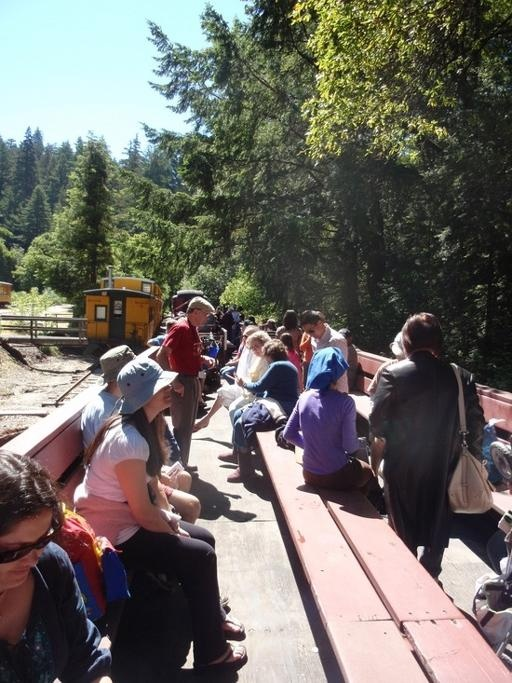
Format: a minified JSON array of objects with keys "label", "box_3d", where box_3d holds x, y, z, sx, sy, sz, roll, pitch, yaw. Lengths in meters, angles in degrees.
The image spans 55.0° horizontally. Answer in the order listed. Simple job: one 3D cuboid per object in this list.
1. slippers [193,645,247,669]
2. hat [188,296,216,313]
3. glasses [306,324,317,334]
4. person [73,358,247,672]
[{"label":"slippers","box_3d":[-0.165,1.577,2.436,0.223,0.086,0.129,0,0,-18]},{"label":"hat","box_3d":[-0.582,-0.393,5.306,0.168,0.135,0.233,5,6,2]},{"label":"glasses","box_3d":[0.705,-0.166,6.286,0.117,0.130,0.047,-7,-37,27]},{"label":"person","box_3d":[-0.474,0.883,2.531,0.860,1.467,0.500,1,0,-5]}]
